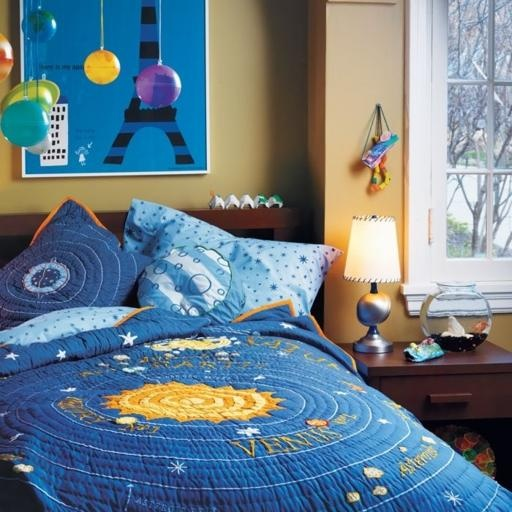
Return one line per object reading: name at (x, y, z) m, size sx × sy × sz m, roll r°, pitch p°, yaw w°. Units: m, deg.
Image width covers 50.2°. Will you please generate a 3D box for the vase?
vase at (0.841, 0.240, 2.287) m, size 0.275 × 0.245 × 0.279 m, roll 0°, pitch 5°, yaw 18°
